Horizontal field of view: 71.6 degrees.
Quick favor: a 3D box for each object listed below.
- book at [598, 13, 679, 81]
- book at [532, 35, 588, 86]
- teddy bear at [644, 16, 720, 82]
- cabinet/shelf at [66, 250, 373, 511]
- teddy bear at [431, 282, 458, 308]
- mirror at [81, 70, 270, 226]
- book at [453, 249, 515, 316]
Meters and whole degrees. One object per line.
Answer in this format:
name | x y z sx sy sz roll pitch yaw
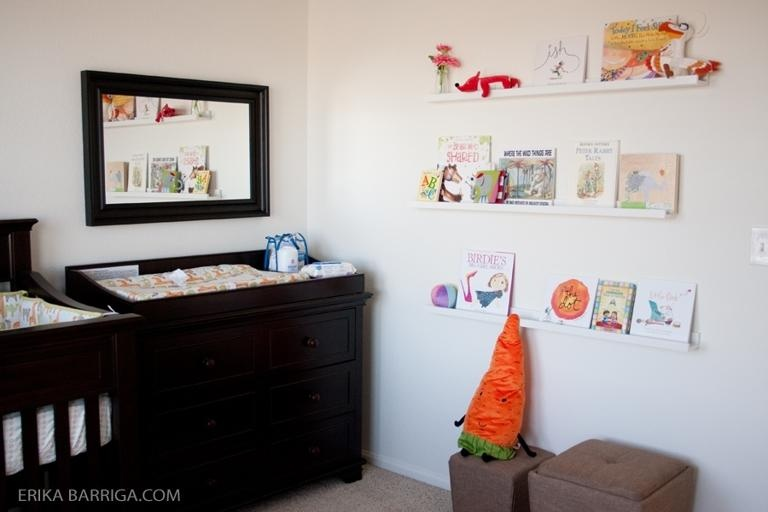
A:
book | 1.179 -0.957 2.441 0.399 0.313 0.044 0 -2 27
book | 0.874 -0.956 2.611 0.284 0.230 0.104 8 11 34
teddy bear | 1.329 -0.915 2.387 0.321 0.239 0.122 0 29 -1
cabinet/shelf | -0.841 0.625 2.645 1.397 1.271 0.673 -5 7 -40
teddy bear | 0.338 0.223 3.036 0.136 0.127 0.131 -1 8 -8
mirror | -1.183 -0.602 2.922 0.969 0.668 0.075 -4 7 -41
book | 0.554 0.148 2.883 0.347 0.348 0.031 8 0 34
